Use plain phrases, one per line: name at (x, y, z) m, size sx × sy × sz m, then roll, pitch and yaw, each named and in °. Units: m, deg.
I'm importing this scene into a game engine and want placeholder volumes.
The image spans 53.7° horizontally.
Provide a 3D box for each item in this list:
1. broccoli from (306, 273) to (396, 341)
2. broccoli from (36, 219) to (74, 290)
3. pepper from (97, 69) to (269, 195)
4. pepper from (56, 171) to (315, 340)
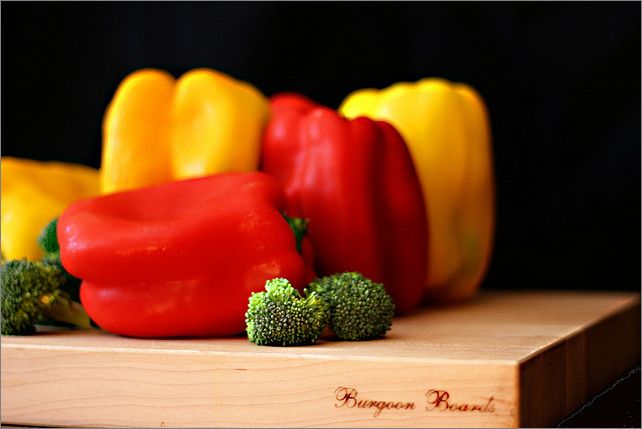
broccoli at (0.041, 0.150, 0.987) m, size 0.142 × 0.073 × 0.100 m, roll 7°, pitch -5°, yaw 5°
broccoli at (-0.460, 0.080, 1.094) m, size 0.039 × 0.057 × 0.040 m, roll -16°, pitch 11°, yaw 42°
pepper at (-0.325, -0.203, 1.396) m, size 0.247 × 0.286 × 0.237 m, roll 24°, pitch 34°, yaw 32°
pepper at (-0.222, 0.093, 1.085) m, size 0.341 × 0.191 × 0.251 m, roll -8°, pitch 67°, yaw -9°
